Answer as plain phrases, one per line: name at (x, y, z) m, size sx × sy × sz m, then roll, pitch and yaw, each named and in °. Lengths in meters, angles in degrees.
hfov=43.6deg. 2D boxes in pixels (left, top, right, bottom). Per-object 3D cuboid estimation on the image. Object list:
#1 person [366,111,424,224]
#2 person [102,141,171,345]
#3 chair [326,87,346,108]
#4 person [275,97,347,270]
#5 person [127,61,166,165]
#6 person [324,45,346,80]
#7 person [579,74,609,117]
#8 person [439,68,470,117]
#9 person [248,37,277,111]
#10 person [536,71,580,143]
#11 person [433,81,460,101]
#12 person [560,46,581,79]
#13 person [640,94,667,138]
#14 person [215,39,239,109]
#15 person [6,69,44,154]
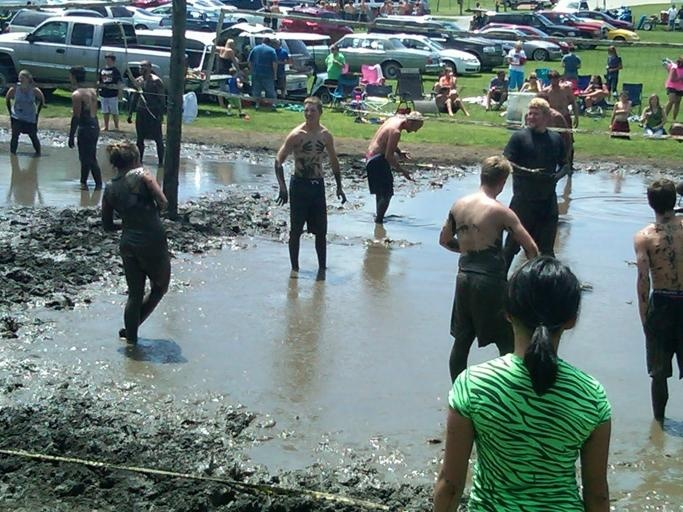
person at (0.738, -1.233, 12.398) m, size 0.801 × 1.756 × 0.740 m, roll 3°, pitch 28°, yaw 0°
person at (-1.960, -0.127, 8.206) m, size 0.528 × 1.903 × 0.573 m, roll -5°, pitch 11°, yaw -34°
chair at (-0.143, -4.115, 22.183) m, size 0.497 × 0.627 × 0.515 m, roll 0°, pitch 29°, yaw 2°
person at (-0.407, -0.829, 10.112) m, size 0.764 × 2.061 × 0.520 m, roll 0°, pitch 9°, yaw -5°
person at (-3.378, -2.411, 14.796) m, size 0.658 × 1.817 × 0.493 m, roll 2°, pitch 6°, yaw 7°
person at (-0.145, -4.924, 21.901) m, size 0.476 × 0.860 × 0.695 m, roll 1°, pitch 9°, yaw 0°
person at (6.513, -4.151, 22.069) m, size 0.661 × 1.030 × 0.867 m, roll 4°, pitch 9°, yaw 15°
person at (2.814, -4.194, 21.855) m, size 0.835 × 1.224 × 1.771 m, roll 2°, pitch 9°, yaw 6°
person at (-1.952, -4.524, 20.938) m, size 0.746 × 1.264 × 0.598 m, roll 3°, pitch 9°, yaw 11°
person at (3.859, -2.453, 15.192) m, size 0.727 × 1.610 × 0.517 m, roll -3°, pitch 26°, yaw 24°
person at (2.664, -4.198, 21.838) m, size 0.690 × 0.417 × 0.968 m, roll 1°, pitch 32°, yaw 5°
person at (6.147, -4.957, 22.962) m, size 0.474 × 1.394 × 0.421 m, roll -2°, pitch 31°, yaw 5°
person at (7.212, -3.250, 19.658) m, size 0.550 × 0.898 × 1.568 m, roll 4°, pitch 9°, yaw 19°
person at (-2.878, -4.458, 21.335) m, size 0.695 × 1.702 × 0.545 m, roll 3°, pitch 1°, yaw 41°
person at (-5.705, -2.567, 15.372) m, size 0.602 × 1.506 × 2.101 m, roll -2°, pitch 10°, yaw -21°
